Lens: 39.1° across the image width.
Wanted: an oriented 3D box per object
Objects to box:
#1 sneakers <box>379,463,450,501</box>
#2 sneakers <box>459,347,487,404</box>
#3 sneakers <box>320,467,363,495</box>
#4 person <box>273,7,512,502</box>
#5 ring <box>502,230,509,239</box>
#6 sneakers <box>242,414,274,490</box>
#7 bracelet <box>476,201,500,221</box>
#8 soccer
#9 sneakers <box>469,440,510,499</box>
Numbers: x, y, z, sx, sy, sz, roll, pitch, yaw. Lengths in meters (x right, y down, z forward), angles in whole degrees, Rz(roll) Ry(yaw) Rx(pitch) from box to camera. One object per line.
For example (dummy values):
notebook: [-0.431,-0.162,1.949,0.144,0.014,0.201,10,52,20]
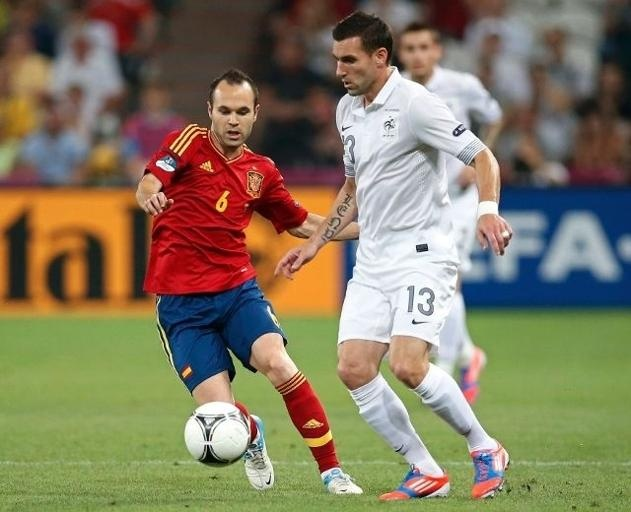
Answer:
sneakers: [0.583,1.276,5.053,0.439,0.243,0.155,1,-4,-12]
sneakers: [1.377,1.051,7.795,0.159,0.516,0.208,18,-9,-30]
sneakers: [0.142,1.273,5.013,0.253,0.120,0.164,1,4,16]
person: [0.502,-0.055,5.120,1.206,2.793,0.754,1,3,17]
ring: [0.992,-0.113,4.625,0.037,0.039,0.028,2,3,22]
sneakers: [-0.325,1.189,5.266,0.138,0.456,0.168,-11,4,5]
bracelet: [0.933,-0.246,4.757,0.086,0.073,0.088,-6,8,-35]
soccer: [-0.531,1.005,4.922,0.354,0.387,0.364,-8,-8,38]
sneakers: [0.987,1.211,5.061,0.203,0.269,0.383,1,4,15]
